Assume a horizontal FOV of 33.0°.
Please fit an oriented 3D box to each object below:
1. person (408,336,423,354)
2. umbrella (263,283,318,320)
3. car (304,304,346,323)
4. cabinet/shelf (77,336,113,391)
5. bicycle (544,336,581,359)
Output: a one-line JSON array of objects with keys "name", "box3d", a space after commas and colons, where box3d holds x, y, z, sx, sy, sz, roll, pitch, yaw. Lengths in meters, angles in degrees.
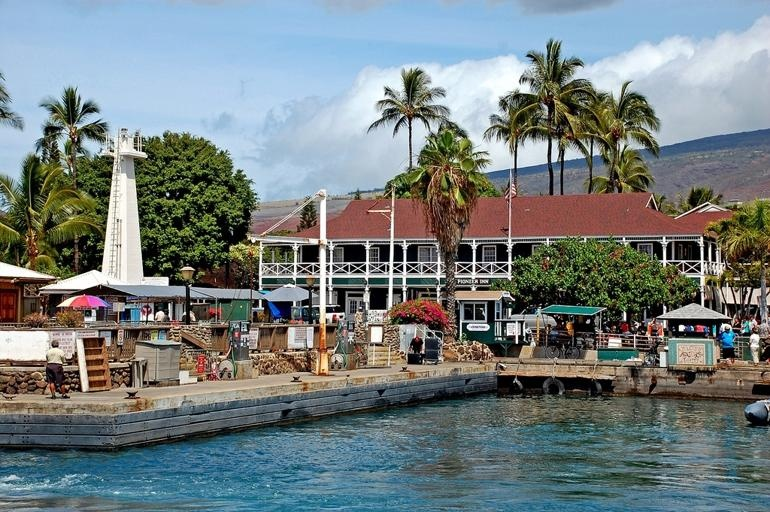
[{"name": "person", "box3d": [1.717, 4.956, 73.488, 0.798, 1.745, 0.564, 0, -3, -1]}, {"name": "umbrella", "box3d": [-5.708, 3.037, 78.991, 2.811, 2.106, 2.880, 4, 11, 31]}, {"name": "car", "box3d": [-4.236, 3.617, 82.931, 2.426, 1.263, 1.543, 3, 1, 11]}, {"name": "cabinet/shelf", "box3d": [-13.003, 4.675, 57.599, 1.458, 2.384, 0.892, -7, 15, -37]}, {"name": "bicycle", "box3d": [10.268, 5.176, 74.816, 1.997, 1.123, 1.273, 4, 12, 8]}]
